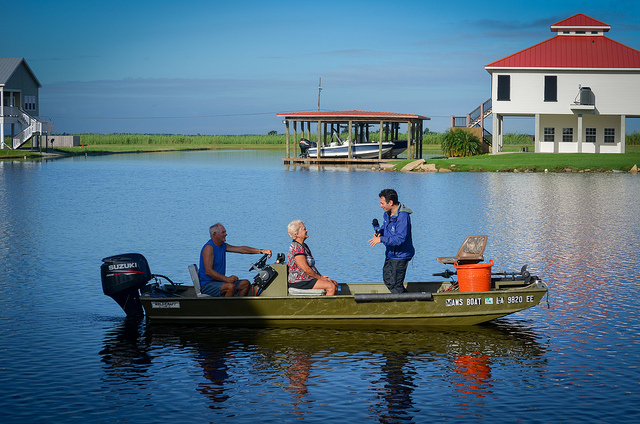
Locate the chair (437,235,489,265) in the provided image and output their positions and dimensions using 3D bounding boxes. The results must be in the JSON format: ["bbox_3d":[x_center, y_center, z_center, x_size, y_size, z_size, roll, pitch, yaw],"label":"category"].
[{"bbox_3d":[2.745,0.756,14.948,0.996,0.513,0.683,-5,2,-35],"label":"chair"}]

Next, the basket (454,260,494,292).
[{"bbox_3d":[3.065,1.225,15.050,0.722,0.496,0.684,-5,-4,41],"label":"basket"}]

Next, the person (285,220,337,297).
[{"bbox_3d":[-0.064,1.139,15.222,1.199,1.821,0.839,4,11,19],"label":"person"}]

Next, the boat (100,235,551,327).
[{"bbox_3d":[0.138,1.470,16.016,9.273,1.698,1.872,0,3,1],"label":"boat"}]

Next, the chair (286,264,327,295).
[{"bbox_3d":[-0.263,1.294,15.000,0.742,0.424,0.633,2,-4,-3],"label":"chair"}]

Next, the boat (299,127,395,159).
[{"bbox_3d":[2.122,-5.899,67.173,8.032,2.344,1.931,0,10,3],"label":"boat"}]

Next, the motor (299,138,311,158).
[{"bbox_3d":[-1.290,-5.586,66.026,0.953,1.601,2.159,0,14,0],"label":"motor"}]
